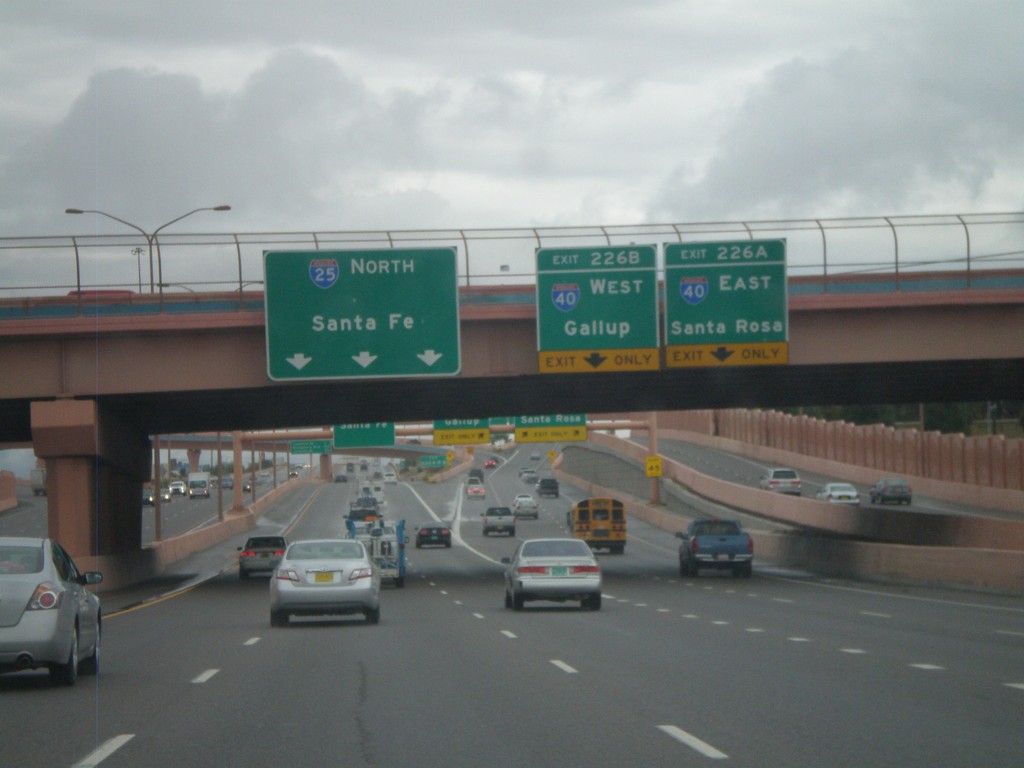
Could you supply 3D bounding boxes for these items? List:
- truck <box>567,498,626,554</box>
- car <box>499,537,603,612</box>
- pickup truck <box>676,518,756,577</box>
[{"bbox_3d":[4.048,6.538,73.920,1.676,1.944,2.883,1,2,-5],"label":"truck"},{"bbox_3d":[0.897,4.551,38.136,2.002,1.920,3.550,1,-3,-10],"label":"car"},{"bbox_3d":[7.211,5.569,55.720,2.045,2.026,4.843,0,1,-1],"label":"pickup truck"}]
